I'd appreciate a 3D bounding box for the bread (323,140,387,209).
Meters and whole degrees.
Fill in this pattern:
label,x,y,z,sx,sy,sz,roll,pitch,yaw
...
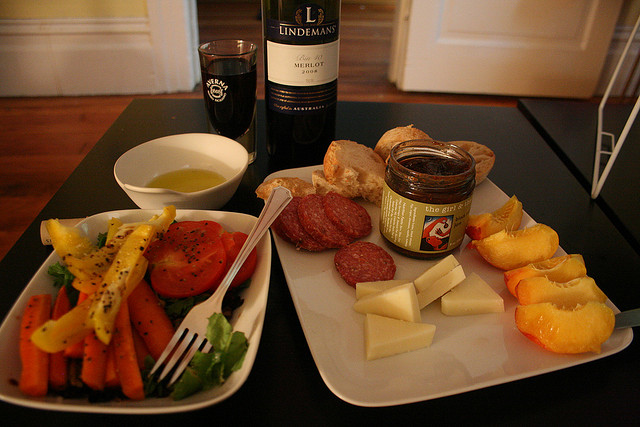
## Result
label,x,y,z,sx,sy,sz,roll,pitch,yaw
bread,0.102,-0.145,1.362,0.199,0.079,0.231,16,33,-13

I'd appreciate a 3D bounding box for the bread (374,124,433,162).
label,x,y,z,sx,sy,sz,roll,pitch,yaw
bread,0.230,-0.229,1.411,0.162,0.107,0.148,-12,25,-28

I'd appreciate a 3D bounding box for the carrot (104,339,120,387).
label,x,y,z,sx,sy,sz,roll,pitch,yaw
carrot,-0.427,0.302,0.944,0.030,0.027,0.101,9,32,-30

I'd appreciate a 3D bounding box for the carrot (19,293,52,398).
label,x,y,z,sx,sy,sz,roll,pitch,yaw
carrot,-0.575,0.261,0.934,0.051,0.072,0.201,-12,42,-14

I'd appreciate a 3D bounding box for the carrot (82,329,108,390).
label,x,y,z,sx,sy,sz,roll,pitch,yaw
carrot,-0.448,0.289,0.922,0.040,0.033,0.127,1,51,-20

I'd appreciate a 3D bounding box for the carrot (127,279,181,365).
label,x,y,z,sx,sy,sz,roll,pitch,yaw
carrot,-0.363,0.226,0.991,0.103,0.120,0.208,-10,27,-19

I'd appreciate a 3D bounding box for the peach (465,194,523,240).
label,x,y,z,sx,sy,sz,roll,pitch,yaw
peach,0.478,0.020,1.238,0.110,0.100,0.180,21,34,36

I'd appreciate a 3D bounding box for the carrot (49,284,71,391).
label,x,y,z,sx,sy,sz,roll,pitch,yaw
carrot,-0.542,0.250,0.961,0.036,0.071,0.213,-11,42,-12

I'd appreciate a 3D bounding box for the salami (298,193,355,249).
label,x,y,z,sx,sy,sz,roll,pitch,yaw
salami,0.005,0.005,1.219,0.123,0.122,0.168,8,13,34

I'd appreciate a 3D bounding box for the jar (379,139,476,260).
label,x,y,z,sx,sy,sz,roll,pitch,yaw
jar,0.227,-0.034,1.264,0.277,0.310,0.291,-1,40,1

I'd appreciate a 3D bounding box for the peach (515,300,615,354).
label,x,y,z,sx,sy,sz,roll,pitch,yaw
peach,0.534,0.242,0.998,0.200,0.082,0.085,4,41,4
